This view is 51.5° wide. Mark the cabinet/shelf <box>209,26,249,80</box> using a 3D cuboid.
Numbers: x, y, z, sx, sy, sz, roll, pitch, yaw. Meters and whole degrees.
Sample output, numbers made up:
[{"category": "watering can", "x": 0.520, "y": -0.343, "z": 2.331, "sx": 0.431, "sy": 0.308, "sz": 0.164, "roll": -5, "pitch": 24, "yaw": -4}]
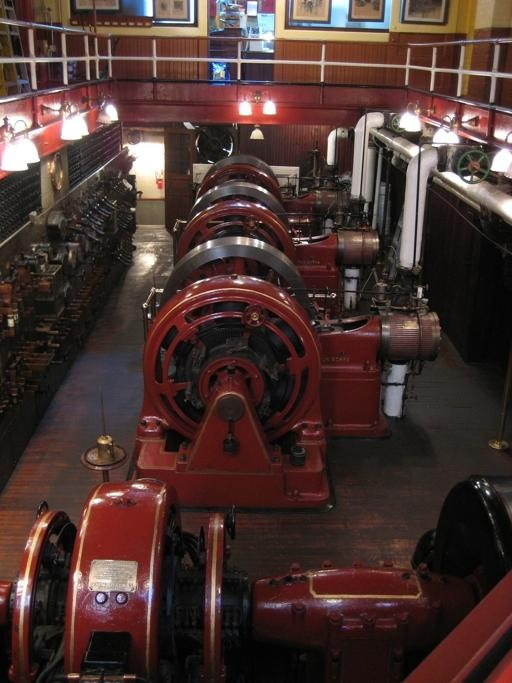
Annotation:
[{"category": "cabinet/shelf", "x": -0.877, "y": -8.135, "z": 14.857, "sx": 0.990, "sy": 1.325, "sz": 3.619, "roll": 0, "pitch": 24, "yaw": -3}]
